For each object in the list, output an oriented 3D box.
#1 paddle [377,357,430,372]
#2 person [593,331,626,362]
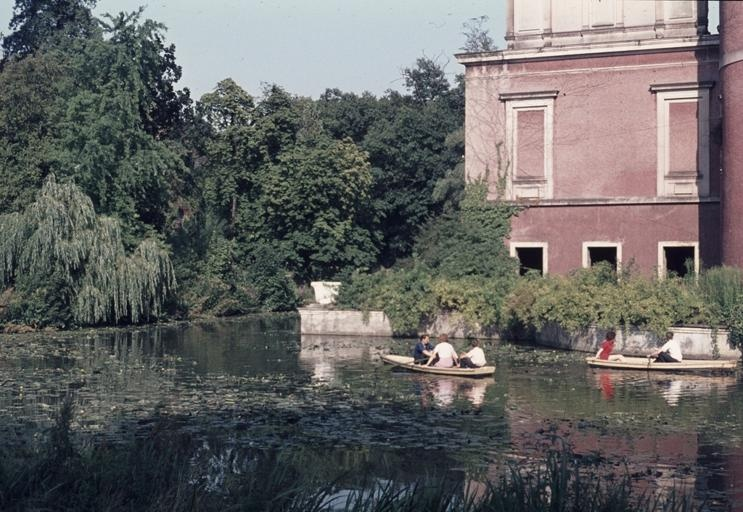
[{"bbox_3d":[1.364,4.485,65.174,2.407,0.341,0.618,6,23,35],"label":"paddle"},{"bbox_3d":[10.249,3.982,65.793,1.085,1.349,1.482,2,5,5],"label":"person"}]
